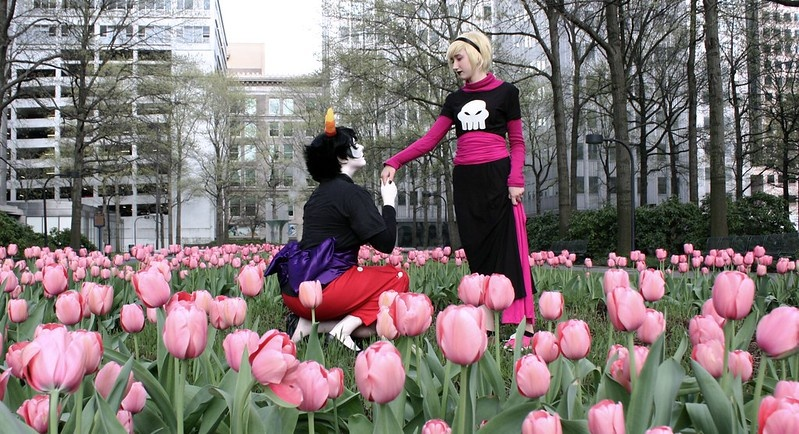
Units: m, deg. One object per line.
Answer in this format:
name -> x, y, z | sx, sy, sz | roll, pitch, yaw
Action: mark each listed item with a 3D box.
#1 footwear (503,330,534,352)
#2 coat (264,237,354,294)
footwear -> 4.328, 4.544, 29.490 | 1.526, 0.615, 0.508 | 7, -10, -36
coat -> -3.295, 1.727, 29.893 | 2.764, 1.478, 2.006 | -24, 14, -35
